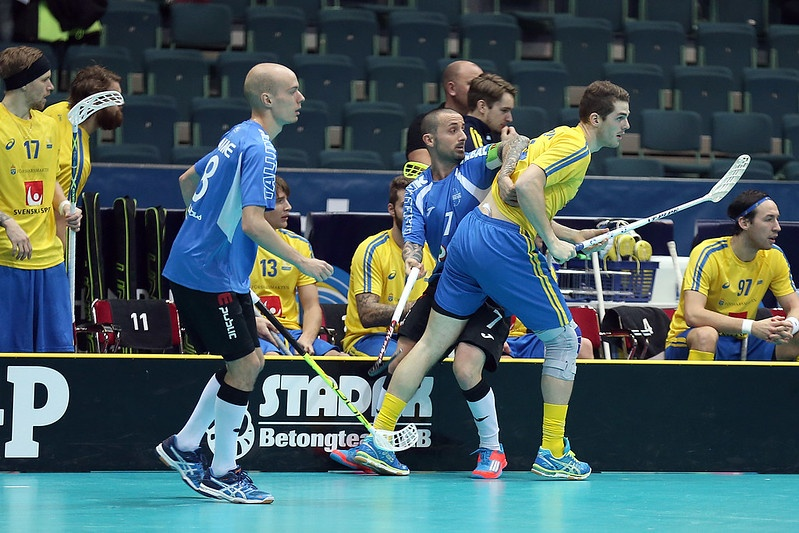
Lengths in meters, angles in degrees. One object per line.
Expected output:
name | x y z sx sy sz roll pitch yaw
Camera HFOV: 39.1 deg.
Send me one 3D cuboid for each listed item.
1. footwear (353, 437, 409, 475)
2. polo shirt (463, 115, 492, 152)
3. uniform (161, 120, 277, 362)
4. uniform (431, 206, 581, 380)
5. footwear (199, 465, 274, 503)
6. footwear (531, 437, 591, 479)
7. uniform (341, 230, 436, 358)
footwear | -0.131 1.399 8.350 0.487 0.228 0.189 25 -31 -31
polo shirt | 0.616 -1.039 8.878 0.246 0.343 0.463 -3 6 -9
uniform | -1.183 -0.398 7.597 0.732 1.339 0.289 2 0 19
uniform | 0.742 0.192 8.286 1.071 0.965 0.444 25 40 36
footwear | -1.097 1.481 7.660 0.529 0.208 0.193 10 -16 8
footwear | 1.216 1.398 8.312 0.473 0.303 0.160 9 1 -18
uniform | -0.008 0.296 9.384 0.845 1.077 0.791 9 1 -25
